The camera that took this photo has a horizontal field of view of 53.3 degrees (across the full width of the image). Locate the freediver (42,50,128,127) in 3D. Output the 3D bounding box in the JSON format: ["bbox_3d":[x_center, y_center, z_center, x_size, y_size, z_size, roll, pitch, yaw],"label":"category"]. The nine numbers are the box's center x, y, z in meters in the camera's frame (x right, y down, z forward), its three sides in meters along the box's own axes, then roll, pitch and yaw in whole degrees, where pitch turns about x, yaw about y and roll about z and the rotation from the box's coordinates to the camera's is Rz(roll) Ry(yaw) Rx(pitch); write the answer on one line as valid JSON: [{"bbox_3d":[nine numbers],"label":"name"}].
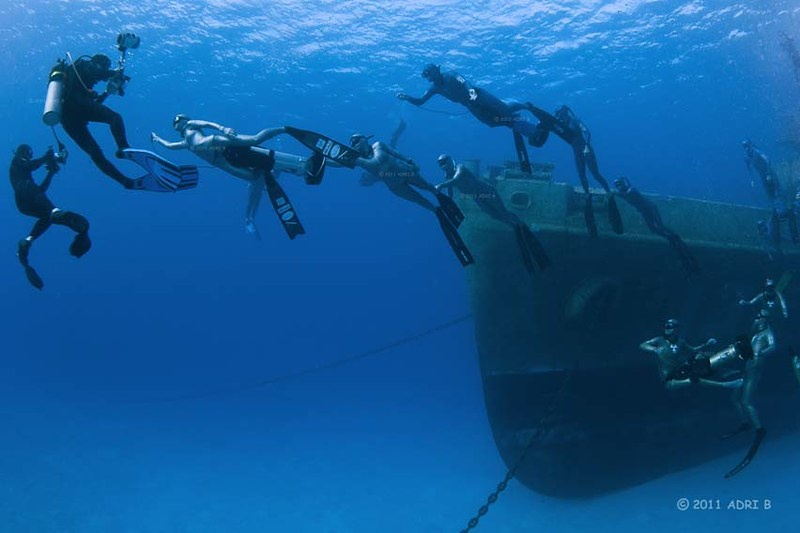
[{"bbox_3d":[-7.077,-3.854,17.850,1.520,1.631,1.289,10,-28,-30],"label":"freediver"}]

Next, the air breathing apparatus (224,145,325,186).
[{"bbox_3d":[-2.603,-2.376,17.984,2.620,0.951,0.820,5,3,-12],"label":"air breathing apparatus"}]

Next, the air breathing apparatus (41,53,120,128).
[{"bbox_3d":[-7.181,-3.913,17.763,1.199,1.643,1.178,5,-5,-27],"label":"air breathing apparatus"}]

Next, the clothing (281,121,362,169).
[{"bbox_3d":[-1.756,-2.745,18.245,2.208,0.657,0.238,27,-3,-9],"label":"clothing"}]

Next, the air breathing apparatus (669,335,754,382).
[{"bbox_3d":[7.411,2.297,19.025,1.563,1.039,0.622,-22,-15,16],"label":"air breathing apparatus"}]

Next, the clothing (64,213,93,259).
[{"bbox_3d":[-6.598,-0.662,16.338,0.544,0.920,0.482,-21,15,-21],"label":"clothing"}]

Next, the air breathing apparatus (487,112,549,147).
[{"bbox_3d":[2.961,-3.320,19.419,1.146,0.696,0.463,29,50,7],"label":"air breathing apparatus"}]

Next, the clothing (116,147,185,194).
[{"bbox_3d":[-5.644,-2.136,18.155,1.095,1.029,0.431,3,34,-15],"label":"clothing"}]

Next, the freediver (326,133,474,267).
[{"bbox_3d":[0.169,-1.880,19.519,5.138,1.538,1.342,34,-15,-14],"label":"freediver"}]

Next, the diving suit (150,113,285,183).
[{"bbox_3d":[-4.088,-2.842,18.224,3.536,1.422,1.230,8,56,-5],"label":"diving suit"}]

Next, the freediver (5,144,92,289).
[{"bbox_3d":[-7.589,-1.359,16.958,1.464,1.717,3.658,1,47,-43],"label":"freediver"}]
